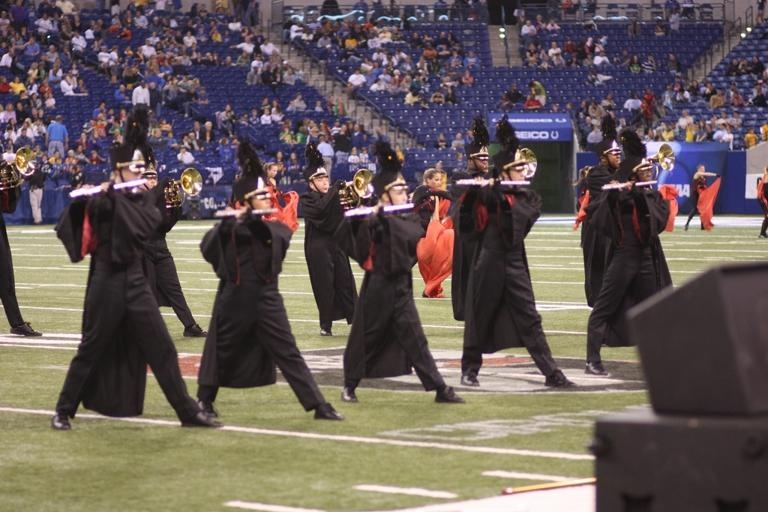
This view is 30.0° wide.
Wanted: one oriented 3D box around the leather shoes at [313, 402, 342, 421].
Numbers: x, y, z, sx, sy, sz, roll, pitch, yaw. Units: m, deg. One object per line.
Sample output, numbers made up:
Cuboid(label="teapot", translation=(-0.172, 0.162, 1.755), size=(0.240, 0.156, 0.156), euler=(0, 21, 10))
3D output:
Cuboid(label="leather shoes", translation=(-0.652, 1.891, 17.184), size=(0.370, 0.128, 0.165), euler=(-1, 1, 12))

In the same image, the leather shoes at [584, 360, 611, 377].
Cuboid(label="leather shoes", translation=(2.835, 1.522, 19.173), size=(0.159, 0.136, 0.368), euler=(2, -5, -29))

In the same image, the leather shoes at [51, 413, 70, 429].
Cuboid(label="leather shoes", translation=(-3.745, 1.963, 16.900), size=(0.219, 0.191, 0.168), euler=(-4, 11, -14))

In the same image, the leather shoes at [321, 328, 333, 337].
Cuboid(label="leather shoes", translation=(-0.850, 1.166, 21.965), size=(0.183, 0.113, 0.253), euler=(-2, 10, -3))

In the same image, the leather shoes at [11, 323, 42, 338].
Cuboid(label="leather shoes", translation=(-5.258, 1.097, 21.443), size=(0.410, 0.200, 0.275), euler=(-4, 10, -14))

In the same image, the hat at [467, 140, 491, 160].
Cuboid(label="hat", translation=(1.296, -1.417, 19.295), size=(0.292, 0.209, 0.210), euler=(-18, -8, 26))

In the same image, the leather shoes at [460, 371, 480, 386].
Cuboid(label="leather shoes", translation=(1.125, 1.601, 18.697), size=(0.241, 0.177, 0.368), euler=(-1, 10, 3))

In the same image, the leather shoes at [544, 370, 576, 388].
Cuboid(label="leather shoes", translation=(2.268, 1.588, 18.530), size=(0.382, 0.229, 0.260), euler=(0, 10, 6))

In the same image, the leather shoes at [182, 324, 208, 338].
Cuboid(label="leather shoes", translation=(-2.686, 1.137, 21.574), size=(0.552, 0.189, 0.185), euler=(-1, 1, 7))

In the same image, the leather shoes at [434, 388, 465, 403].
Cuboid(label="leather shoes", translation=(0.828, 1.730, 17.939), size=(0.362, 0.204, 0.232), euler=(-1, 10, 2))

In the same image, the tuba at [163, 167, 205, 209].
Cuboid(label="tuba", translation=(-2.780, -0.945, 19.265), size=(0.627, 0.458, 1.062), euler=(13, 3, 0))

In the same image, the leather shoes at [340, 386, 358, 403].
Cuboid(label="leather shoes", translation=(-0.412, 1.721, 18.072), size=(0.204, 0.200, 0.328), euler=(-2, 10, -1))
